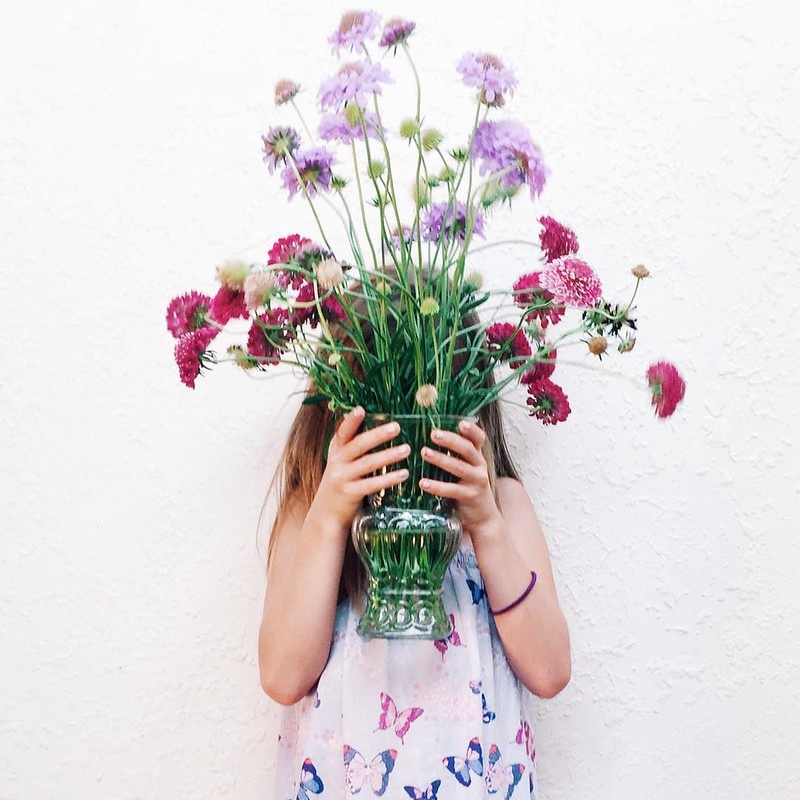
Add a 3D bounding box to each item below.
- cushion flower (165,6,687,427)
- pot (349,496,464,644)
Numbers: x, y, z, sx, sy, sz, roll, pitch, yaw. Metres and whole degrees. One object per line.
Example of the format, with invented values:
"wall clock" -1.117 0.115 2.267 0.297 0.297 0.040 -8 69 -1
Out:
"cushion flower" -0.001 -0.124 0.970 0.472 0.605 0.504 2 106 -1
"pot" 0.006 0.191 0.946 0.109 0.121 0.177 2 77 -4
